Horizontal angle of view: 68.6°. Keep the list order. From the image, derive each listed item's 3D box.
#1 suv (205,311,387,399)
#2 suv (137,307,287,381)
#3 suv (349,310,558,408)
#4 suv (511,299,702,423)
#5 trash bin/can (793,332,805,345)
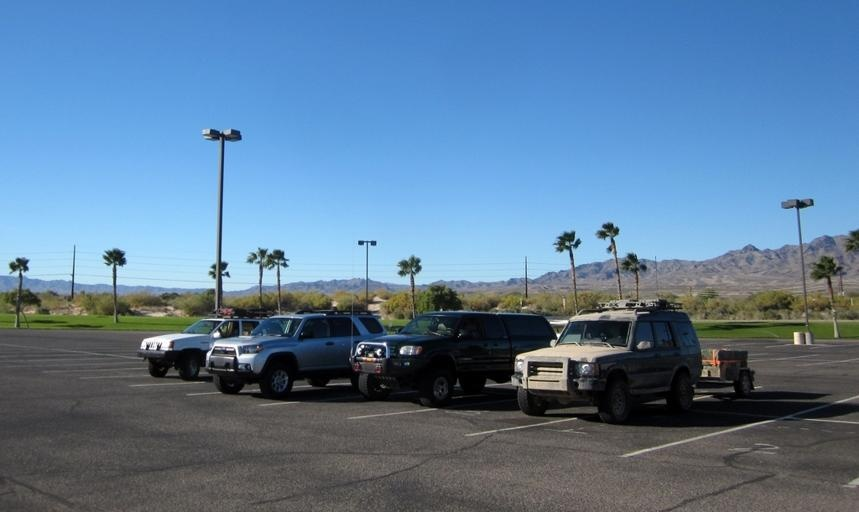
[{"bbox_3d":[-4.368,3.260,21.525,5.368,2.307,2.939,7,-10,-44],"label":"suv"},{"bbox_3d":[-8.396,3.619,25.750,4.782,2.075,2.765,4,-6,-45],"label":"suv"},{"bbox_3d":[0.946,3.050,20.343,5.556,2.043,3.219,6,-10,-43],"label":"suv"},{"bbox_3d":[5.048,3.037,18.107,5.144,2.671,3.044,6,-10,-40],"label":"suv"},{"bbox_3d":[31.377,6.966,53.073,0.800,0.816,1.662,-4,-6,30],"label":"trash bin/can"}]
